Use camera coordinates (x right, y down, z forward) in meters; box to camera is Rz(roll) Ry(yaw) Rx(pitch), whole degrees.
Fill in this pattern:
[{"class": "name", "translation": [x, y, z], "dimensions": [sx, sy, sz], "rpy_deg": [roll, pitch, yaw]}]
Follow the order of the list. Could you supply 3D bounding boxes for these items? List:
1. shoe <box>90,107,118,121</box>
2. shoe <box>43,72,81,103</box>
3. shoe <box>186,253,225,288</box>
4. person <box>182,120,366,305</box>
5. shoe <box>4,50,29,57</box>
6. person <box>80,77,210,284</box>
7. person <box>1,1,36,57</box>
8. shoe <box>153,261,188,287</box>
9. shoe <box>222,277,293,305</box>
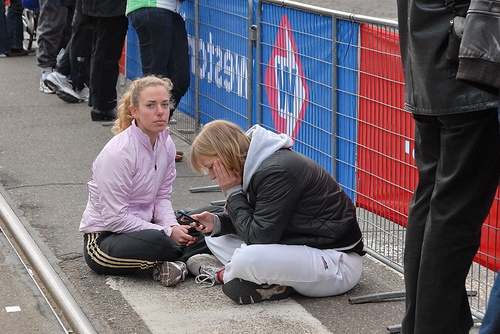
[{"class": "shoe", "translation": [-1.859, -0.663, 8.529], "dimensions": [0.327, 0.189, 0.391], "rpy_deg": [0, 13, -13]}, {"class": "shoe", "translation": [-2.592, -1.162, 9.291], "dimensions": [0.683, 0.301, 0.264], "rpy_deg": [13, 32, 28]}, {"class": "shoe", "translation": [-0.301, 0.740, 4.885], "dimensions": [0.241, 0.143, 0.299], "rpy_deg": [-5, 16, -33]}, {"class": "person", "translation": [0.139, 0.308, 4.755], "dimensions": [1.353, 1.183, 1.009], "rpy_deg": [1, 3, 3]}, {"class": "shoe", "translation": [-4.368, -2.128, 12.634], "dimensions": [0.349, 0.103, 0.281], "rpy_deg": [1, 13, -10]}, {"class": "person", "translation": [-0.663, 0.077, 5.013], "dimensions": [1.120, 1.397, 1.131], "rpy_deg": [0, 10, -22]}, {"class": "person", "translation": [-4.312, -2.481, 12.234], "dimensions": [0.508, 1.000, 1.147], "rpy_deg": [2, 13, -6]}, {"class": "shoe", "translation": [-0.569, 0.757, 4.787], "dimensions": [0.258, 0.116, 0.119], "rpy_deg": [7, -10, 41]}, {"class": "shoe", "translation": [0.038, 0.831, 4.516], "dimensions": [0.524, 0.167, 0.232], "rpy_deg": [8, 1, -7]}]
